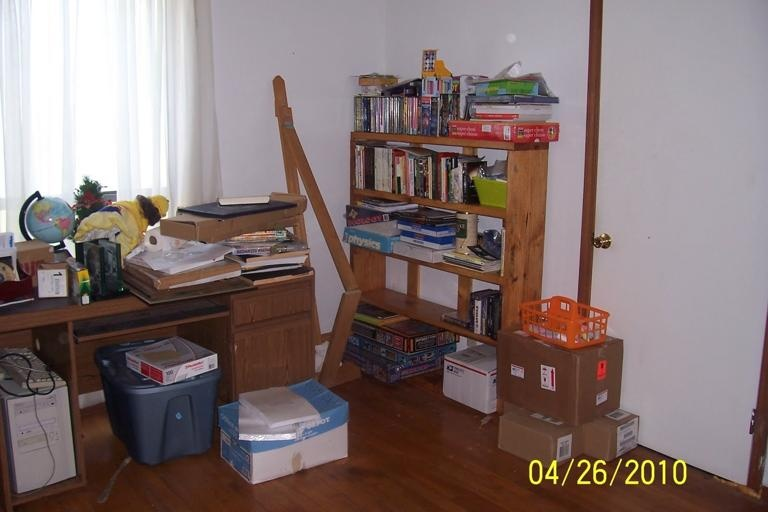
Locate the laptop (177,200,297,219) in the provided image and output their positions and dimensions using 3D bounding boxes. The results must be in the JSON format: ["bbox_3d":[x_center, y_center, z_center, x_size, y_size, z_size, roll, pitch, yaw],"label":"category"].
[{"bbox_3d":[-0.843,-0.277,3.614,0.601,0.062,0.317,-14,20,-43],"label":"laptop"}]

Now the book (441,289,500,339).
[{"bbox_3d":[0.561,0.376,4.022,0.117,0.227,0.334,7,2,-17],"label":"book"}]

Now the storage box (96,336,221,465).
[{"bbox_3d":[-1.378,0.853,3.671,0.569,0.462,0.753,-4,7,-40],"label":"storage box"}]

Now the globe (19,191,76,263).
[{"bbox_3d":[-1.979,-0.158,3.648,0.319,0.403,0.265,-12,17,-34],"label":"globe"}]

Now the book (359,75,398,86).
[{"bbox_3d":[-0.034,-1.233,4.373,0.267,0.084,0.127,-1,15,-1],"label":"book"}]

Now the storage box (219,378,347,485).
[{"bbox_3d":[-0.584,0.953,3.444,0.688,0.312,0.479,-7,13,-36],"label":"storage box"}]

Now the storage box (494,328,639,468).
[{"bbox_3d":[0.974,0.808,3.621,0.767,0.642,0.766,-13,17,-41],"label":"storage box"}]

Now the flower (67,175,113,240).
[{"bbox_3d":[-1.769,-0.291,3.713,0.329,0.340,0.331,1,-2,-14],"label":"flower"}]

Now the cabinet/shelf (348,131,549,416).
[{"bbox_3d":[0.443,0.120,4.038,1.705,1.483,0.514,15,20,40],"label":"cabinet/shelf"}]

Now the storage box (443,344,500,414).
[{"bbox_3d":[0.550,0.815,4.053,0.276,0.340,0.355,11,10,8],"label":"storage box"}]

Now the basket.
[{"bbox_3d":[1.034,0.377,3.641,0.345,0.222,0.443,0,8,-32],"label":"basket"}]

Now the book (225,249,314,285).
[{"bbox_3d":[-0.657,0.069,3.695,0.285,0.089,0.289,5,9,42],"label":"book"}]
